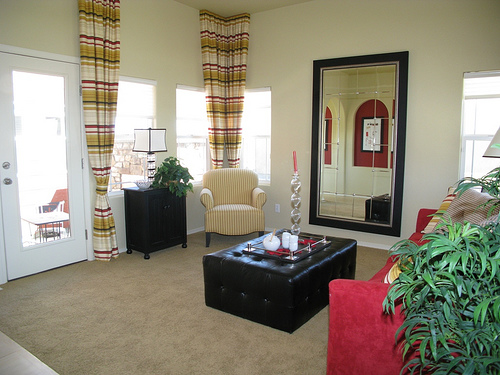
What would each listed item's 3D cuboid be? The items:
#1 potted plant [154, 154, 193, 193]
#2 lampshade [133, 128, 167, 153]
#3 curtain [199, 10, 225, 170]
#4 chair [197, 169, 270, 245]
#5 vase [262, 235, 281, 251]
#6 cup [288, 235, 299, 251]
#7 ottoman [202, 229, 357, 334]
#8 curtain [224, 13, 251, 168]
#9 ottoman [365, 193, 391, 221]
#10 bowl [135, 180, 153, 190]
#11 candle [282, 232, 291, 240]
[{"bbox_3d":[-0.967,-0.172,4.923,0.473,0.359,0.547,2,12,-25],"label":"potted plant"},{"bbox_3d":[-1.232,-0.585,4.608,0.301,0.558,0.306,4,9,24],"label":"lampshade"},{"bbox_3d":[-0.559,-1.227,5.925,0.089,1.772,0.343,-9,14,-21],"label":"curtain"},{"bbox_3d":[-0.264,0.250,5.377,1.078,1.136,1.113,-1,1,25],"label":"chair"},{"bbox_3d":[0.196,0.513,3.372,0.118,0.088,0.123,0,-1,26],"label":"vase"},{"bbox_3d":[0.404,0.513,3.344,0.080,0.144,0.110,0,11,0],"label":"cup"},{"bbox_3d":[0.336,0.873,3.345,1.411,0.514,0.805,-4,12,-21],"label":"ottoman"},{"bbox_3d":[-0.231,-1.530,5.894,0.396,2.399,0.292,4,11,17],"label":"curtain"},{"bbox_3d":[1.775,0.258,5.072,0.490,0.383,0.270,4,10,44],"label":"ottoman"},{"bbox_3d":[-1.329,-0.037,4.675,0.214,0.077,0.173,-5,13,-25],"label":"bowl"},{"bbox_3d":[0.340,0.454,3.391,0.061,0.059,0.050,4,-4,-21],"label":"candle"}]
